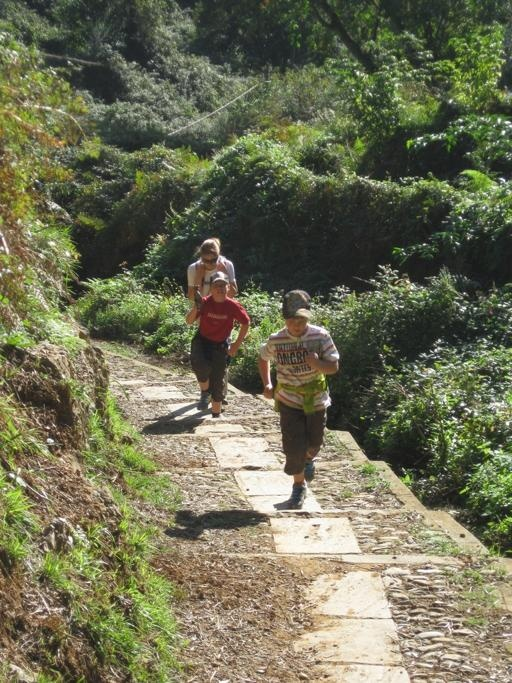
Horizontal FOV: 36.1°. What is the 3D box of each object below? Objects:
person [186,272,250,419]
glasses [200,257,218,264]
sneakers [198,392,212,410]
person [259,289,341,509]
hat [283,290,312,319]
[{"bbox_3d":[-0.355,0.074,7.026,0.503,1.406,1.156,0,9,-6],"label":"person"},{"bbox_3d":[-0.405,-0.720,6.982,0.083,0.026,0.078,2,33,-3],"label":"glasses"},{"bbox_3d":[-0.496,0.585,7.666,0.079,0.217,0.091,5,38,-2],"label":"sneakers"},{"bbox_3d":[0.263,0.384,5.149,0.497,1.459,0.572,1,10,0],"label":"person"},{"bbox_3d":[0.246,-0.228,4.900,0.166,0.177,0.248,1,9,1],"label":"hat"}]
